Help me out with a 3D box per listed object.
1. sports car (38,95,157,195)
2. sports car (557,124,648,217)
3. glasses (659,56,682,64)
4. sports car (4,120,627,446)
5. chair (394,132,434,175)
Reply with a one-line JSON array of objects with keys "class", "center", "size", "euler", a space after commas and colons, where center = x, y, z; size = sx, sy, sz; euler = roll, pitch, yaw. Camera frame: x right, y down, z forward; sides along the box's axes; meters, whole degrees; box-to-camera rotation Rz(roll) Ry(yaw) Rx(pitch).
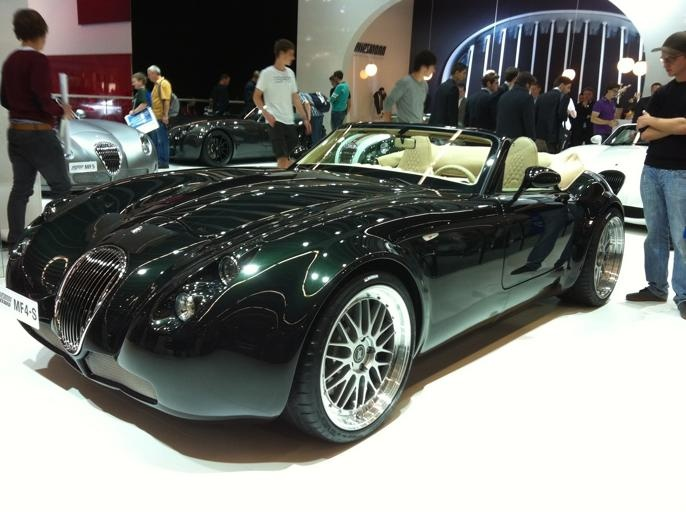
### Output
[{"class": "sports car", "center": [-3.813, -1.724, 6.931], "size": [1.483, 0.724, 2.534], "euler": [-14, 30, -38]}, {"class": "sports car", "center": [3.680, -1.180, 6.456], "size": [1.271, 0.865, 2.348], "euler": [5, 7, 44]}, {"class": "glasses", "center": [2.566, -1.512, 3.633], "size": [0.080, 0.062, 0.179], "euler": [-10, 22, -30]}, {"class": "sports car", "center": [0.211, 0.016, 2.723], "size": [3.113, 0.985, 1.700], "euler": [-9, 14, -41]}, {"class": "chair", "center": [0.478, -0.672, 3.166], "size": [0.248, 0.374, 0.305], "euler": [-1, 25, 8]}]
